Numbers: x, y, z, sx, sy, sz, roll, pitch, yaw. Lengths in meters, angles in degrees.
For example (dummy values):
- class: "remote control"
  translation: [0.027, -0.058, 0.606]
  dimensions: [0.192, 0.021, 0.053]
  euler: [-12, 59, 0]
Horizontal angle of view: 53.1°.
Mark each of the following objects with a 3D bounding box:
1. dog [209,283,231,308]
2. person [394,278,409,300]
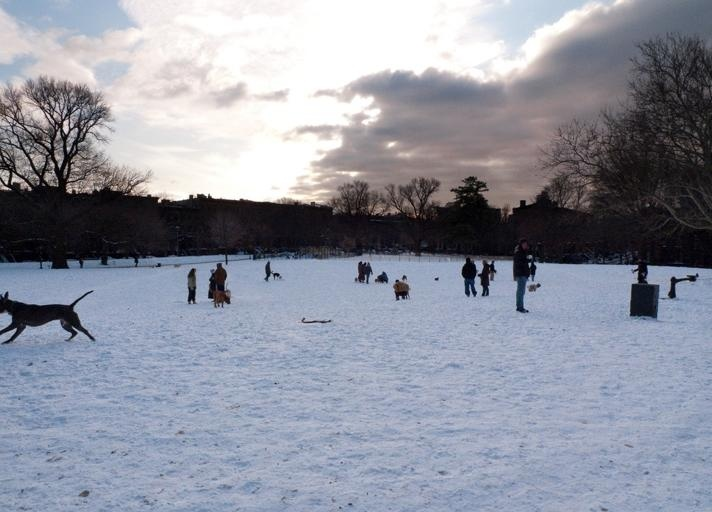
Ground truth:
- class: "dog"
  translation: [-5.688, 1.660, 30.079]
  dimensions: [0.754, 0.910, 2.105]
  euler: [-1, 0, -13]
- class: "person"
  translation: [2.060, 1.531, 32.201]
  dimensions: [0.436, 0.820, 1.403]
  euler: [1, 3, 9]
